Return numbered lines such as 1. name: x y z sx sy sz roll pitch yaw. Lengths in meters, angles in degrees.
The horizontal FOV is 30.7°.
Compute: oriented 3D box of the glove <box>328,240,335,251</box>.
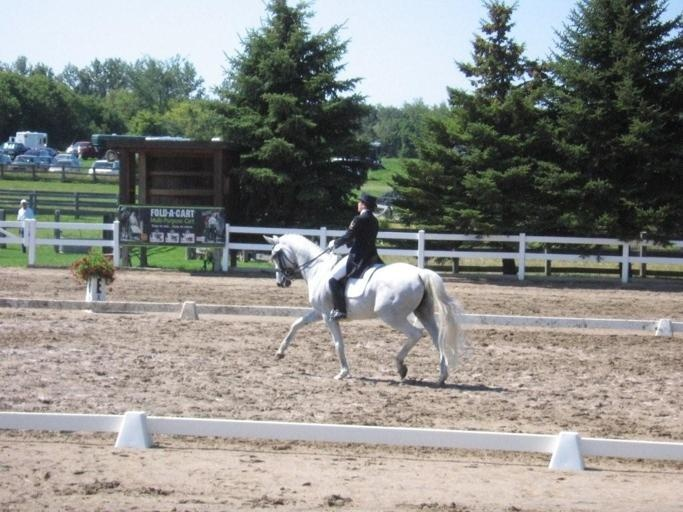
1. glove: -0.274 -0.309 32.414 0.170 0.234 0.244 0 -1 -4
